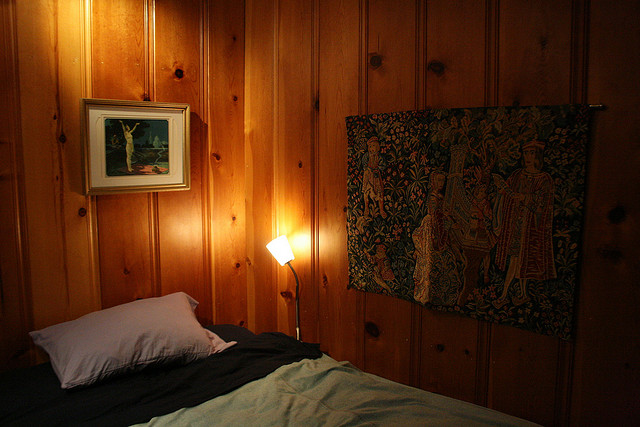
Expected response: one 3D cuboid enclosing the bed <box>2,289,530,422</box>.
[{"bbox_3d":[-0.624,0.879,2.957,2.576,0.543,0.947,-1,2,14],"label":"bed"}]
